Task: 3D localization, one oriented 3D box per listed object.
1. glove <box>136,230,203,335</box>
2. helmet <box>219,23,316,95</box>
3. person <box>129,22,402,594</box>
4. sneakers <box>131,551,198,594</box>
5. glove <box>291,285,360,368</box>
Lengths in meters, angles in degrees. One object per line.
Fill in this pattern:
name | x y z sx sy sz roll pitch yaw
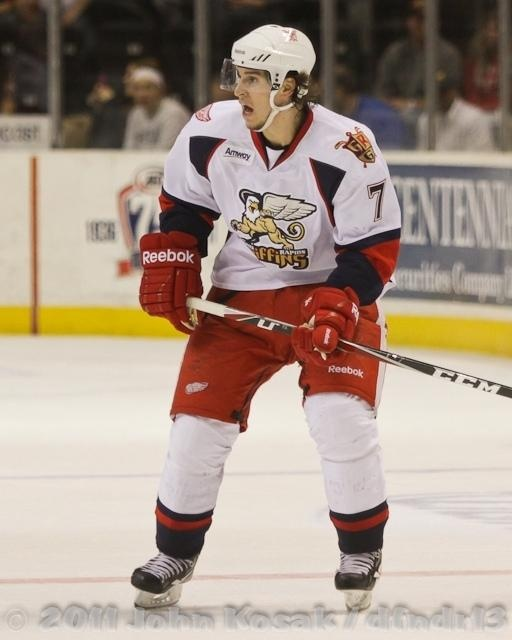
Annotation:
glove | -0.194 -0.090 2.467 0.169 0.225 0.107 -6 -9 16
helmet | 0.051 -0.602 2.346 0.181 0.133 0.120 -10 30 -16
person | 0.046 -0.018 2.360 0.640 1.313 0.503 4 9 -7
sneakers | -0.199 0.562 2.281 0.056 0.061 0.161 17 5 31
glove | 0.150 0.014 2.238 0.135 0.176 0.173 5 9 4
